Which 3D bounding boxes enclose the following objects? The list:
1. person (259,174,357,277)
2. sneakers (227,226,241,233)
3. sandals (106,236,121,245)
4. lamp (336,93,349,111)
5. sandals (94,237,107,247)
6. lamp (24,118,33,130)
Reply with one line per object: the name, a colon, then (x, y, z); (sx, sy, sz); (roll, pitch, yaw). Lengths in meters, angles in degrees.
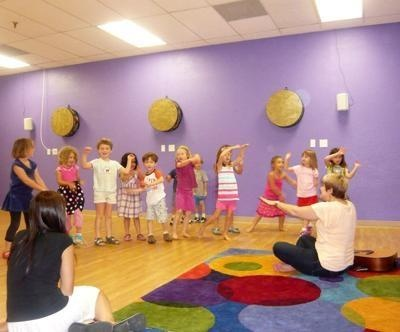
person: (0.937, 0.530, 2.949); (0.720, 0.912, 0.756); (5, -5, -32)
sneakers: (0.518, 0.951, 4.903); (0.190, 0.093, 0.067); (3, 1, 19)
sandals: (-1.134, 0.975, 4.266); (0.160, 0.074, 0.082); (0, 1, 26)
lamp: (2.278, -1.030, 5.208); (0.196, 0.294, 0.159); (-1, 0, 25)
sandals: (-1.292, 0.998, 4.228); (0.076, 0.062, 0.146); (1, -10, -43)
lamp: (-3.944, -0.964, 7.468); (0.278, 0.306, 0.122); (-1, 0, 29)
